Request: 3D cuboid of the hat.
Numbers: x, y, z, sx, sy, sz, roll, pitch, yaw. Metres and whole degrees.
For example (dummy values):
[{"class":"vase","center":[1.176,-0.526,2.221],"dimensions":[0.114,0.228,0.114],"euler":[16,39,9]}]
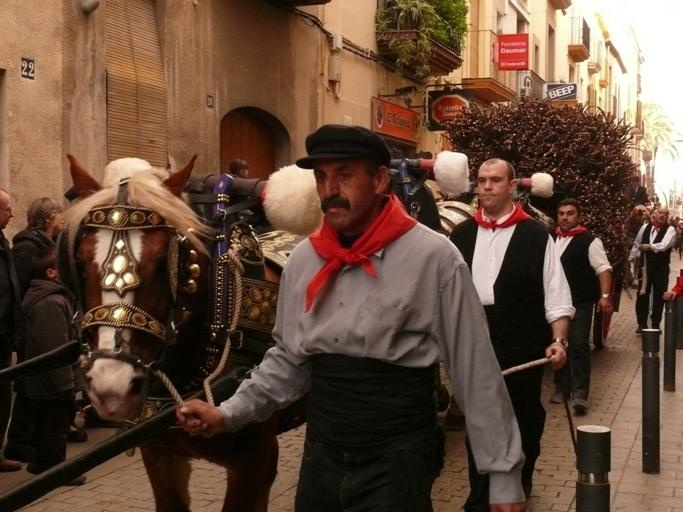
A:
[{"class":"hat","center":[0.054,-0.582,4.572],"dimensions":[0.333,0.107,0.254],"euler":[0,-4,-37]}]
